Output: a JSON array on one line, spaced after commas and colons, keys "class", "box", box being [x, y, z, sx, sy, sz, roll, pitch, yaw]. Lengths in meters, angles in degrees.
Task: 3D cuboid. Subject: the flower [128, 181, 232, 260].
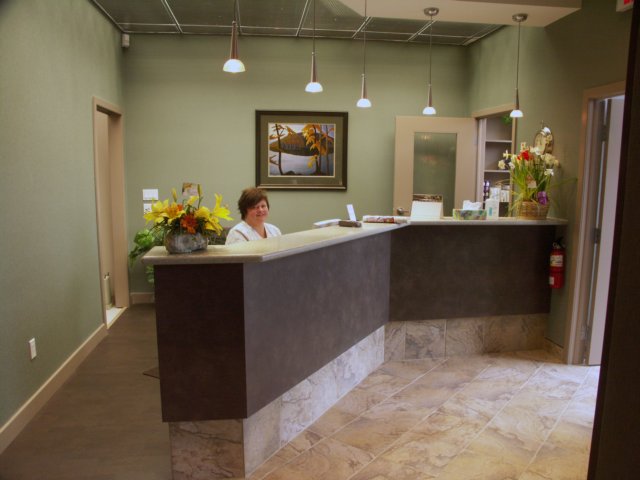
[{"class": "flower", "box": [-1.199, -0.197, 4.179, 0.880, 0.632, 0.868, -7, 5, -43]}]

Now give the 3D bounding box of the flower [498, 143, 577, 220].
[{"class": "flower", "box": [2.108, -0.566, 5.031, 0.614, 0.758, 0.729, 0, 1, 6]}]

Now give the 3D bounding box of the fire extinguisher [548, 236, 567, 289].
[{"class": "fire extinguisher", "box": [2.266, 0.216, 4.776, 0.109, 0.476, 0.228, -2, 12, -7]}]

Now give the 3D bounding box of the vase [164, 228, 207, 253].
[{"class": "vase", "box": [-0.769, 0.002, 2.886, 0.175, 0.096, 0.132, 1, 0, -38]}]

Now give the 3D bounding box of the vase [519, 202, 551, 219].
[{"class": "vase", "box": [2.054, -0.265, 4.783, 0.179, 0.106, 0.198, 0, 1, -27]}]

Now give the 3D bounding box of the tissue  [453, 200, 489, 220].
[{"class": "tissue ", "box": [1.456, -0.296, 4.844, 0.318, 0.157, 0.273, 0, 12, 1]}]

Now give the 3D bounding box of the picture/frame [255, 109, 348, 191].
[{"class": "picture/frame", "box": [-0.279, -1.174, 6.245, 1.173, 1.039, 0.092, 1, 4, -8]}]
